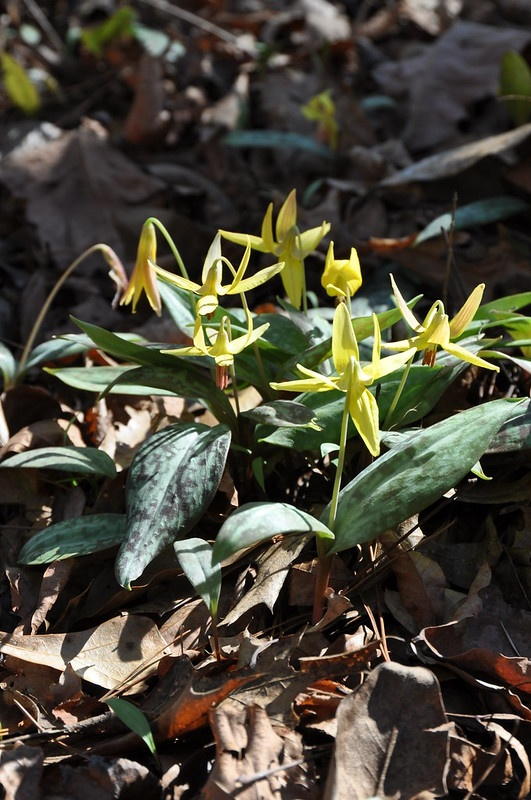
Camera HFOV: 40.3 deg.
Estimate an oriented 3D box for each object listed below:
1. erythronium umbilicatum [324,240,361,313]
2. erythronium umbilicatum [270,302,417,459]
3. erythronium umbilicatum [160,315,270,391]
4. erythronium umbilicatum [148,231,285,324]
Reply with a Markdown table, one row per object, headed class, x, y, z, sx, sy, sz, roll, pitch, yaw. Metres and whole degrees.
| class | x | y | z | sx | sy | sz | roll | pitch | yaw |
| --- | --- | --- | --- | --- | --- | --- | --- | --- | --- |
| erythronium umbilicatum | 0.175 | -0.236 | 1.437 | 0.086 | 0.134 | 0.079 | 1 | 23 | 30 |
| erythronium umbilicatum | 0.132 | -0.029 | 1.118 | 0.224 | 0.238 | 0.116 | 2 | 73 | 11 |
| erythronium umbilicatum | -0.100 | -0.123 | 1.366 | 0.163 | 0.161 | 0.163 | -1 | 48 | -6 |
| erythronium umbilicatum | -0.089 | -0.242 | 1.374 | 0.244 | 0.135 | 0.225 | 6 | -4 | 40 |
